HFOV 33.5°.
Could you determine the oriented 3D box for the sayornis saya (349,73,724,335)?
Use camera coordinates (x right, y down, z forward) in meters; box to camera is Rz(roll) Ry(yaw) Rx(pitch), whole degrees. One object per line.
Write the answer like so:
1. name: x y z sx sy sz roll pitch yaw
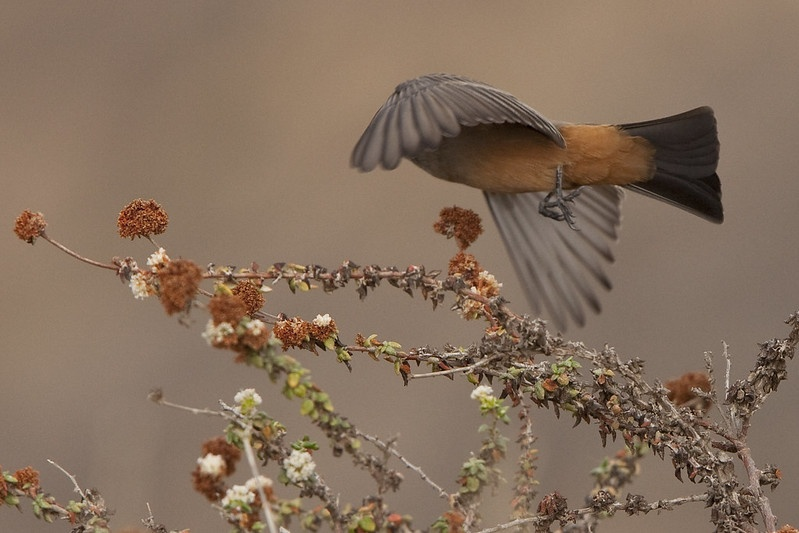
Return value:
1. sayornis saya: 0.786 -0.487 6.199 1.195 0.699 1.780 -15 -26 22
